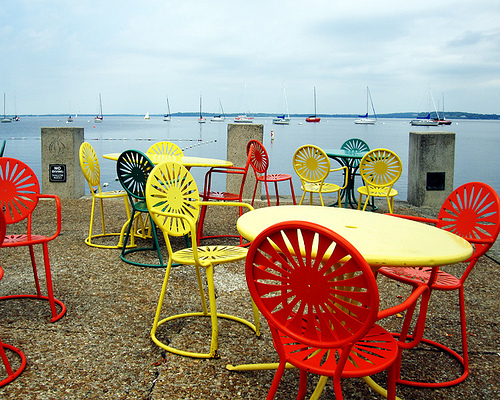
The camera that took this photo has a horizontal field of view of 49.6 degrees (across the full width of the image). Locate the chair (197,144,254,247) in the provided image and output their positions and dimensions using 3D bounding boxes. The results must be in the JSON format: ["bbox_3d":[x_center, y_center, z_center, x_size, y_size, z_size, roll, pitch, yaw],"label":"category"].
[{"bbox_3d":[-0.324,-0.090,6.496,0.761,1.350,0.727,0,-7,-4],"label":"chair"}]

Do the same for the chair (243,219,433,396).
[{"bbox_3d":[0.501,0.622,3.100,0.689,1.077,0.611,13,25,31],"label":"chair"}]

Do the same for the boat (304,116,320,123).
[{"bbox_3d":[10.924,-13.862,95.008,2.352,1.042,1.406,3,16,33],"label":"boat"}]

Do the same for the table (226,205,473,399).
[{"bbox_3d":[0.680,0.238,3.350,1.211,0.930,1.316,0,7,-32],"label":"table"}]

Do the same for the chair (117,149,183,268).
[{"bbox_3d":[-0.972,0.059,5.461,0.599,1.105,0.768,5,6,25],"label":"chair"}]

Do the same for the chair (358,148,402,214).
[{"bbox_3d":[1.713,-0.263,7.254,0.531,1.085,0.651,8,23,17],"label":"chair"}]

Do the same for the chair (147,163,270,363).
[{"bbox_3d":[-0.353,0.400,4.027,0.751,1.277,0.822,6,10,30],"label":"chair"}]

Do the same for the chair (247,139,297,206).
[{"bbox_3d":[0.272,-0.351,7.410,0.547,0.991,0.503,-6,10,-26],"label":"chair"}]

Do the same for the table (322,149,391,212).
[{"bbox_3d":[1.545,-0.364,8.081,0.913,0.742,0.975,1,7,-4],"label":"table"}]

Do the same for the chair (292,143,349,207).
[{"bbox_3d":[0.951,-0.331,7.721,0.732,1.090,0.765,-12,21,-30],"label":"chair"}]
